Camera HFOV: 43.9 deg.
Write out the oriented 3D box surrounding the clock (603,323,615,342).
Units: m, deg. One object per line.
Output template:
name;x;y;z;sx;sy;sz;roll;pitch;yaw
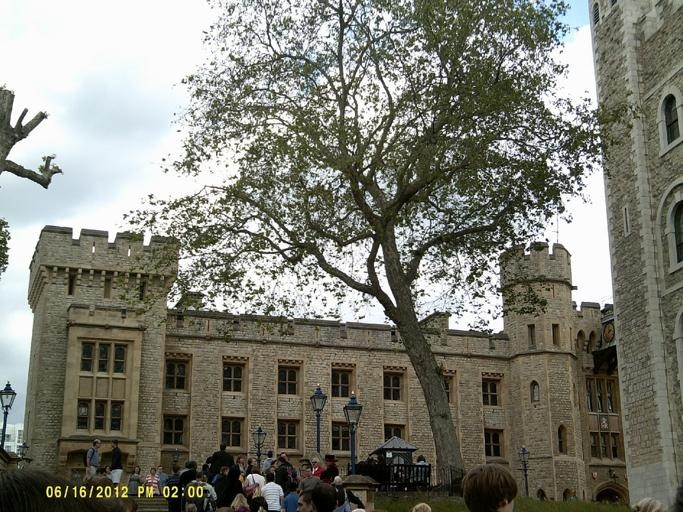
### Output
clock;15.020;4.289;47.809;0.174;1.087;1.012;1;-20;-11
